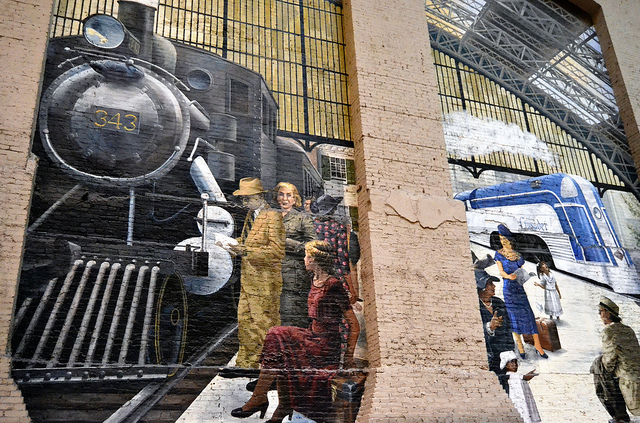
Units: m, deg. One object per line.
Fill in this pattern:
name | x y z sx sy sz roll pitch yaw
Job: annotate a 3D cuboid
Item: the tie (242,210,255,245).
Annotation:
tie | -1.319 0.314 11.429 0.113 0.668 0.094 23 -19 -3
